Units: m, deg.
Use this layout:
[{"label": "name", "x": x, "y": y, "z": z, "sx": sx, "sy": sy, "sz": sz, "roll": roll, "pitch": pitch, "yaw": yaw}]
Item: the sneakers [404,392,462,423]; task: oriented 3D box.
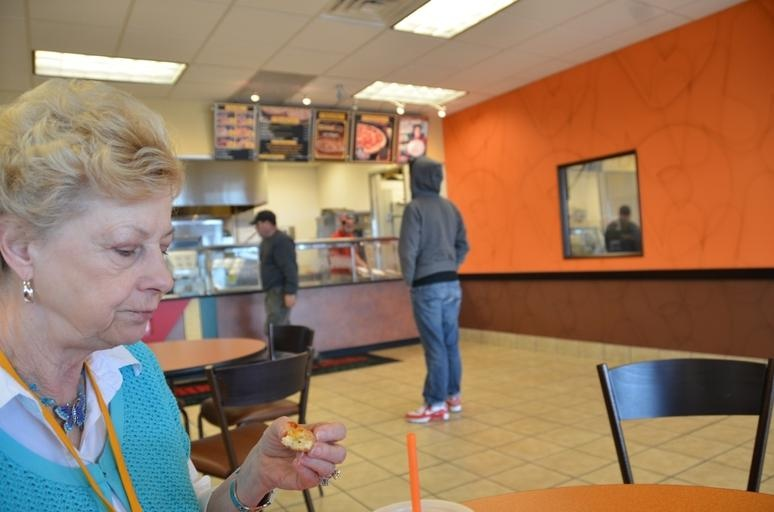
[{"label": "sneakers", "x": 0.375, "y": 1.177, "z": 4.266, "sx": 0.454, "sy": 0.153, "sz": 0.162, "roll": -5, "pitch": 3, "yaw": -31}]

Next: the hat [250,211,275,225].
[{"label": "hat", "x": -1.326, "y": -0.411, "z": 5.860, "sx": 0.247, "sy": 0.121, "sz": 0.162, "roll": 2, "pitch": -3, "yaw": -8}]

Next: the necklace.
[{"label": "necklace", "x": -0.872, "y": 0.375, "z": 1.432, "sx": 0.141, "sy": 0.091, "sz": 0.136, "roll": 0, "pitch": 3, "yaw": 18}]

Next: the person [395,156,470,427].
[{"label": "person", "x": 0.353, "y": 0.220, "z": 4.408, "sx": 0.438, "sy": 2.045, "sz": 0.701, "roll": -3, "pitch": 4, "yaw": 20}]

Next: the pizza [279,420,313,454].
[{"label": "pizza", "x": -0.225, "y": 0.469, "z": 1.439, "sx": 0.097, "sy": 0.068, "sz": 0.033, "roll": 11, "pitch": -26, "yaw": 5}]
